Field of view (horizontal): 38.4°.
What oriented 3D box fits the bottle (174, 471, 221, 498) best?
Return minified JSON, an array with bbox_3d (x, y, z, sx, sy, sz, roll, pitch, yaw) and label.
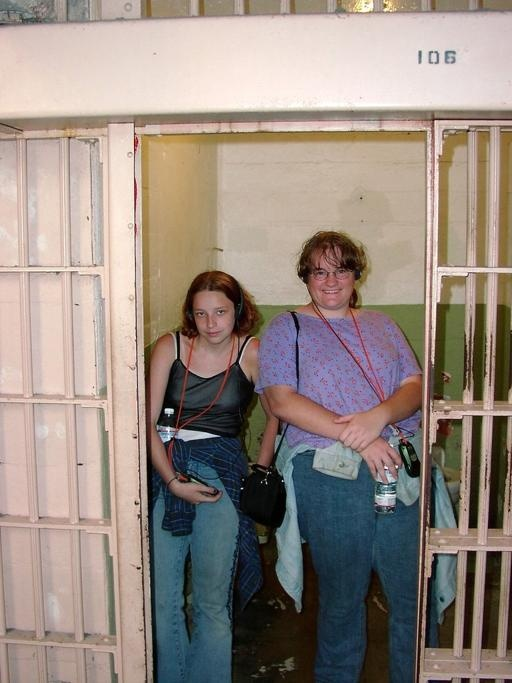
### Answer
[{"bbox_3d":[-0.198,0.471,2.499,0.132,0.029,0.072,25,-3,5],"label":"bottle"}]
